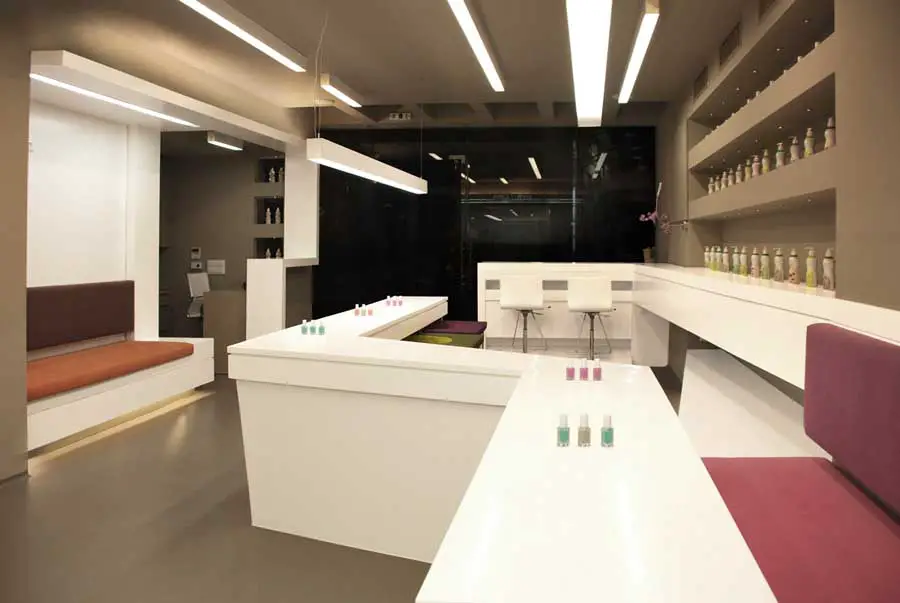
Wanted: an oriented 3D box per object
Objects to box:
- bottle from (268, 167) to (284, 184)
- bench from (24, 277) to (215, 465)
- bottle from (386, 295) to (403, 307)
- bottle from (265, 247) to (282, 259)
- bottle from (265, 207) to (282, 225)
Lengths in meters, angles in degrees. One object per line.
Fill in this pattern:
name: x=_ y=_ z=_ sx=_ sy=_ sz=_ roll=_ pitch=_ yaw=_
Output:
bottle: x=-2.530 y=-1.839 z=8.334 sx=0.130 sy=0.263 sz=0.257 roll=1 pitch=3 yaw=26
bench: x=-3.576 y=0.539 z=5.871 sx=0.961 sy=1.389 sz=2.082 roll=3 pitch=6 yaw=20
bottle: x=-0.600 y=0.005 z=6.204 sx=0.126 sy=0.090 sz=0.134 roll=0 pitch=0 yaw=0
bottle: x=-2.645 y=-0.720 z=8.513 sx=0.180 sy=0.147 sz=0.069 roll=0 pitch=0 yaw=-10
bottle: x=-2.626 y=-1.275 z=8.485 sx=0.117 sy=0.275 sz=0.271 roll=-1 pitch=4 yaw=8
